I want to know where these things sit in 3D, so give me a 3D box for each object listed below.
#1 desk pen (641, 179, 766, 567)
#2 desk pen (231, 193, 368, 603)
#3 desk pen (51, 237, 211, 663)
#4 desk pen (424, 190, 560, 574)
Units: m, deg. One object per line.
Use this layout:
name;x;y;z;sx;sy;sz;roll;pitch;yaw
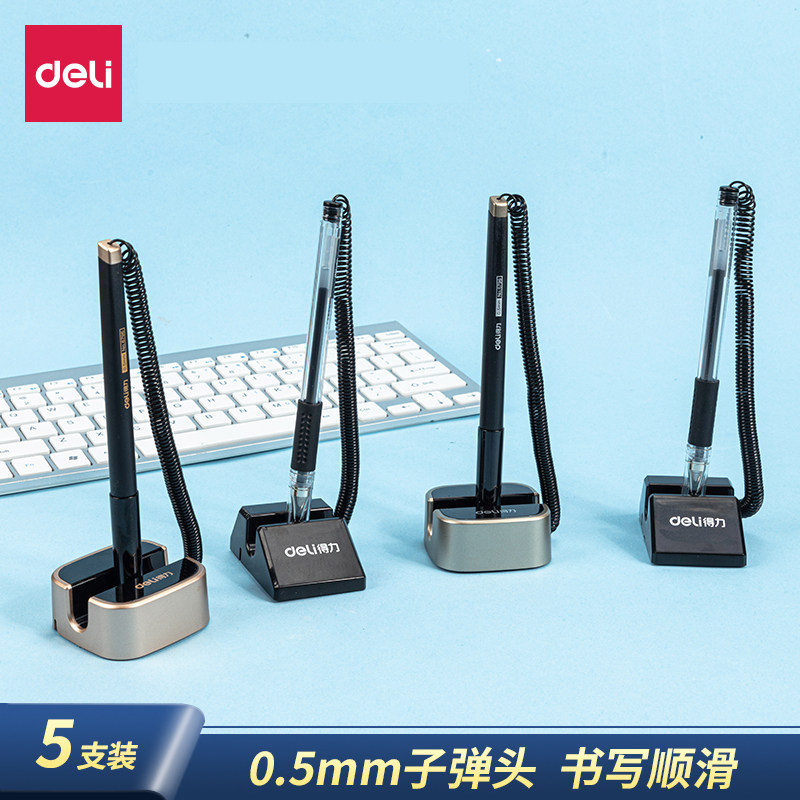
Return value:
desk pen;0.268;-0.028;0.784;0.101;0.309;0.151;4;15;15
desk pen;-0.073;-0.010;0.730;0.125;0.303;0.165;-5;16;-19
desk pen;-0.184;0.021;0.657;0.110;0.282;0.154;6;16;22
desk pen;0.083;-0.011;0.736;0.120;0.301;0.091;-2;15;-5
